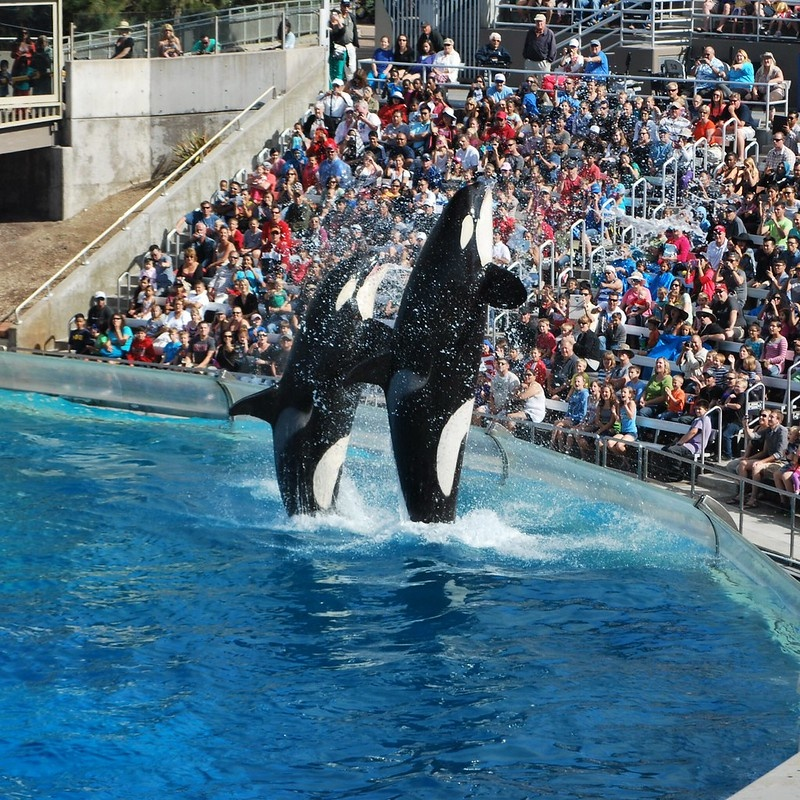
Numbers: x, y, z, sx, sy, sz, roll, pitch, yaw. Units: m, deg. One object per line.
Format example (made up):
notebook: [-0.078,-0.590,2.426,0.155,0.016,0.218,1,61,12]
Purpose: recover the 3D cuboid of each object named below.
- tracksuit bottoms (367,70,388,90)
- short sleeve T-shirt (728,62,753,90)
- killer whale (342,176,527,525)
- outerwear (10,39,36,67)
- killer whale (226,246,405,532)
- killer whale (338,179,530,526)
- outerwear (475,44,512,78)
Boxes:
tracksuit bottoms: [-0.355,-5.136,26.210,0.236,0.410,0.721,3,8,10]
short sleeve T-shirt: [4.637,-4.423,22.584,0.342,0.293,0.405,-10,22,29]
killer whale: [0.432,-0.424,13.991,1.288,3.149,1.008,13,7,25]
outerwear: [-5.889,-5.447,25.883,0.227,0.417,0.107,7,3,-16]
killer whale: [-0.646,-0.170,14.199,1.122,2.451,0.958,14,13,-13]
killer whale: [0.467,-0.481,13.974,1.287,3.135,1.019,13,7,24]
outerwear: [1.451,-5.337,25.946,0.500,0.692,0.267,4,9,10]
